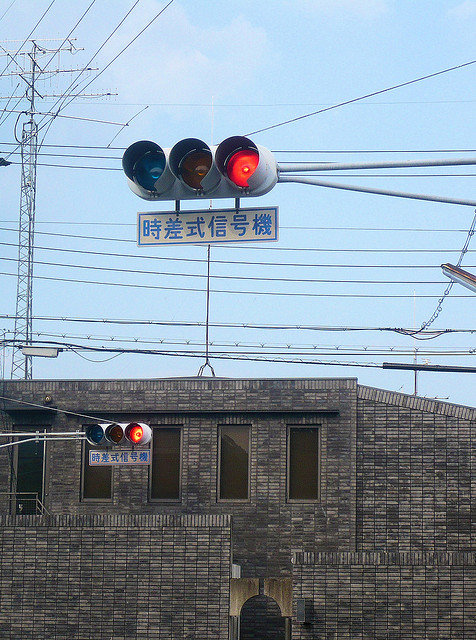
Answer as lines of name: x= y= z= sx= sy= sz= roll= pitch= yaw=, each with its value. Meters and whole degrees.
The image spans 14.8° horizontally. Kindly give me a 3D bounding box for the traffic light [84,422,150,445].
traffic light: x=-2.472 y=2.294 z=36.874 sx=1.288 sy=0.459 sz=0.496 roll=2 pitch=-17 yaw=-3
